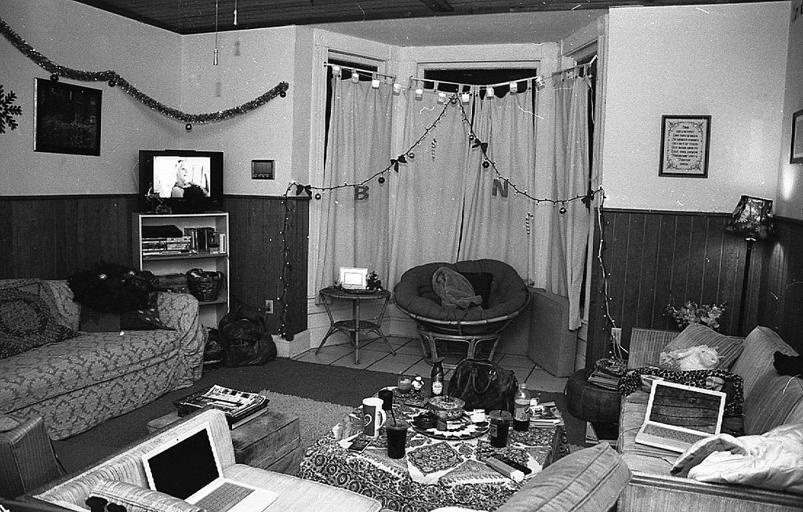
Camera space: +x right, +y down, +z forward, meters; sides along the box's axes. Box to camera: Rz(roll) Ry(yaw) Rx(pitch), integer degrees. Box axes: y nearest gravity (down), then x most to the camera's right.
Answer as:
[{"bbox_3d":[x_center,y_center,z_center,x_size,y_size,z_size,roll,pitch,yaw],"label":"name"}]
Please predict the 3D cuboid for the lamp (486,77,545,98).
[{"bbox_3d":[1.369,-2.067,6.448,0.454,0.132,0.456,-5,4,11],"label":"lamp"}]

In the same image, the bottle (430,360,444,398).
[{"bbox_3d":[0.291,0.962,4.167,0.112,0.356,0.103,0,19,0],"label":"bottle"}]

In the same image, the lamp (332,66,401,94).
[{"bbox_3d":[-0.423,-2.152,6.597,0.909,0.338,0.589,0,6,-7],"label":"lamp"}]

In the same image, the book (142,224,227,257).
[{"bbox_3d":[-2.483,-0.176,6.090,0.900,0.333,0.355,-2,7,-22],"label":"book"}]

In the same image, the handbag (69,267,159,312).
[{"bbox_3d":[-2.892,0.253,5.204,0.563,0.207,0.490,8,9,37],"label":"handbag"}]

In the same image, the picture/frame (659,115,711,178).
[{"bbox_3d":[2.822,-1.077,5.216,0.608,0.805,0.057,1,6,15],"label":"picture/frame"}]

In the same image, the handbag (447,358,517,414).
[{"bbox_3d":[0.669,1.025,4.200,0.567,0.384,0.289,0,0,33],"label":"handbag"}]

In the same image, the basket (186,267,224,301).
[{"bbox_3d":[-2.272,0.343,6.190,0.363,0.319,0.417,1,7,1],"label":"basket"}]

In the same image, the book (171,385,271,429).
[{"bbox_3d":[-1.299,1.075,3.898,0.392,0.096,0.395,7,6,22],"label":"book"}]

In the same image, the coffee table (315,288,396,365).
[{"bbox_3d":[-0.555,0.697,6.612,0.777,0.900,0.817,-9,6,-9],"label":"coffee table"}]

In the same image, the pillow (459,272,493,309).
[{"bbox_3d":[0.962,0.425,6.456,0.376,0.380,0.116,3,-12,-2],"label":"pillow"}]

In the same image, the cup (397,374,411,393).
[{"bbox_3d":[0.024,0.996,4.156,0.105,0.098,0.105,1,1,0],"label":"cup"}]

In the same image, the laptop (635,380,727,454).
[{"bbox_3d":[1.925,1.118,3.642,0.552,0.320,0.523,3,10,21],"label":"laptop"}]

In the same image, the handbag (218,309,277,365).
[{"bbox_3d":[-1.748,0.914,6.019,0.632,0.597,0.310,-2,7,-17],"label":"handbag"}]

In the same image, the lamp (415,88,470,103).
[{"bbox_3d":[0.529,-1.997,6.653,0.689,0.175,0.328,0,6,0],"label":"lamp"}]

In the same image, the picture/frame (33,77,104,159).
[{"bbox_3d":[-3.409,-1.394,5.431,0.066,0.728,0.779,12,12,15],"label":"picture/frame"}]

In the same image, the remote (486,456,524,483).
[{"bbox_3d":[0.633,1.286,3.217,0.169,0.039,0.093,17,11,39],"label":"remote"}]

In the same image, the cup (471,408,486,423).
[{"bbox_3d":[0.553,1.139,3.770,0.089,0.075,0.061,-3,1,16],"label":"cup"}]

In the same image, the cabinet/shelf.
[{"bbox_3d":[-2.654,0.389,6.125,1.233,2.148,0.599,-7,27,-30],"label":"cabinet/shelf"}]

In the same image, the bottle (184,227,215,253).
[{"bbox_3d":[-2.310,-0.178,6.137,0.380,0.375,0.225,1,2,-13],"label":"bottle"}]

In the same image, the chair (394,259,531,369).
[{"bbox_3d":[0.798,0.717,6.457,1.281,0.880,1.284,0,10,8],"label":"chair"}]

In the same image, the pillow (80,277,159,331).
[{"bbox_3d":[-2.804,0.405,5.145,0.492,0.206,0.555,4,19,-15],"label":"pillow"}]

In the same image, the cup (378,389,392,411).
[{"bbox_3d":[-0.113,1.037,3.802,0.098,0.157,0.096,0,14,0],"label":"cup"}]

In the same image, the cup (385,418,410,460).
[{"bbox_3d":[-0.048,1.191,3.378,0.174,0.226,0.198,5,-21,-11],"label":"cup"}]

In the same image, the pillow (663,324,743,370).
[{"bbox_3d":[2.541,0.700,4.633,0.659,0.162,0.682,9,16,24],"label":"pillow"}]

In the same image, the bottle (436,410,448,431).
[{"bbox_3d":[0.276,1.143,3.660,0.075,0.101,0.087,5,-11,-28],"label":"bottle"}]

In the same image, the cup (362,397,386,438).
[{"bbox_3d":[-0.165,1.102,3.563,0.147,0.213,0.214,10,-17,-34],"label":"cup"}]

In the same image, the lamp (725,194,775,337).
[{"bbox_3d":[3.279,0.097,5.017,0.386,1.317,0.396,4,8,31],"label":"lamp"}]
